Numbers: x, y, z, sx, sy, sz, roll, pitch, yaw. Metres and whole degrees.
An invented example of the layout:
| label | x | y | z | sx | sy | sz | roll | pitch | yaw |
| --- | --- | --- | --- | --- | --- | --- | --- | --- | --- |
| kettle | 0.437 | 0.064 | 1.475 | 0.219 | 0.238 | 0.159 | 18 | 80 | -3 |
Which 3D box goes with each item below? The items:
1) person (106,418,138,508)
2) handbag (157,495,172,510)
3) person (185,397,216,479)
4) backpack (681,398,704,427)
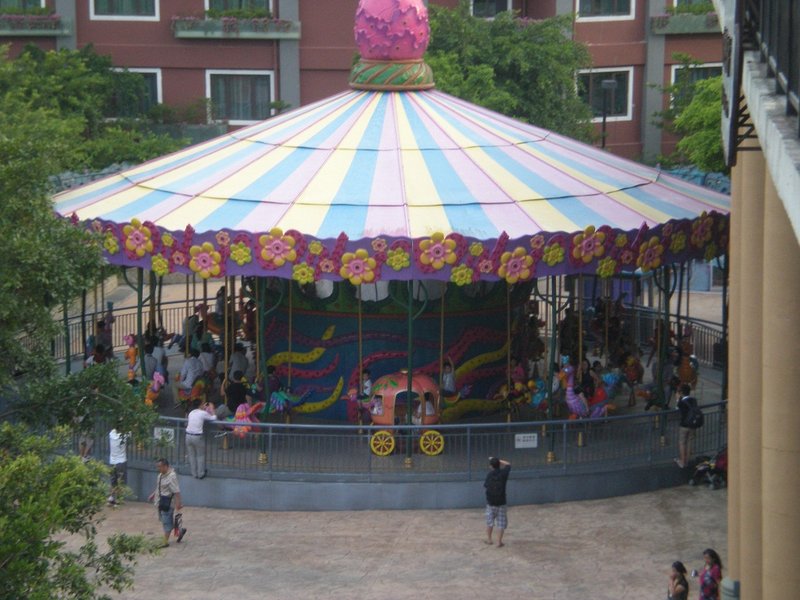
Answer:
| label | x | y | z | sx | sy | sz | roll | pitch | yaw |
| --- | --- | --- | --- | --- | --- | --- | --- | --- | --- |
| person | -6.974 | 4.038 | 56.758 | 0.447 | 2.030 | 0.552 | -10 | -15 | 37 |
| handbag | -5.626 | 4.807 | 54.440 | 0.288 | 0.327 | 0.300 | 3 | 11 | 0 |
| person | -5.045 | 3.488 | 56.730 | 0.570 | 1.759 | 0.717 | 3 | 2 | 40 |
| backpack | 7.148 | 2.880 | 57.443 | 0.600 | 0.885 | 0.471 | -3 | -4 | -24 |
